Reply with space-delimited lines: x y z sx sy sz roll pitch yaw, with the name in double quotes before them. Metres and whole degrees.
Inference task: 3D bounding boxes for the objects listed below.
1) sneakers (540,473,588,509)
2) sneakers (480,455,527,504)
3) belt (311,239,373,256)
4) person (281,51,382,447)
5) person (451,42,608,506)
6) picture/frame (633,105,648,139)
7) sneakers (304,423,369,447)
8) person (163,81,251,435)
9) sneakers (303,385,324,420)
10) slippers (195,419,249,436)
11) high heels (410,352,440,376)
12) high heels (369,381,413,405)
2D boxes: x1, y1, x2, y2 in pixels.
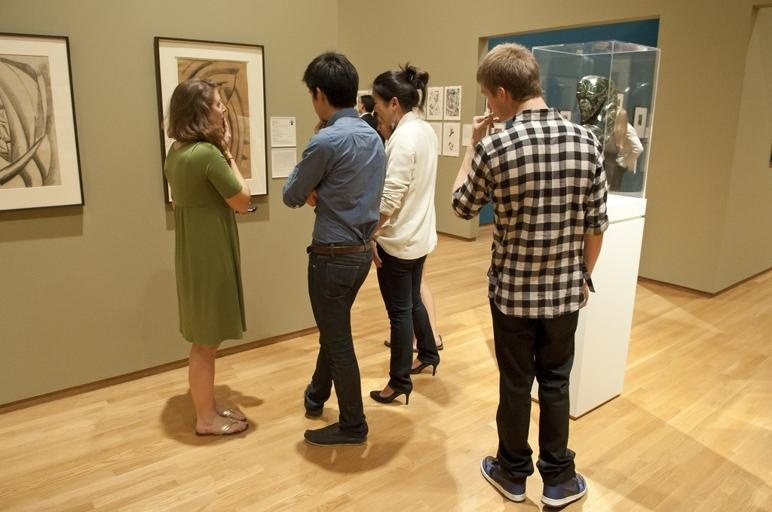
"sneakers" 1.126 1.500 3.252 0.370 0.173 0.141 -12 14 -38
"sneakers" 0.740 1.446 3.405 0.141 0.166 0.381 -8 23 -22
"belt" -0.302 -0.053 3.369 0.405 0.087 0.120 -5 21 -10
"person" -0.336 0.030 3.482 0.591 2.620 0.585 3 20 13
"person" 0.884 0.198 3.084 0.876 2.745 0.549 8 21 25
"picture/frame" 2.059 -1.098 4.184 0.213 0.401 0.026 -15 19 -37
"sneakers" -0.361 1.275 3.741 0.470 0.178 0.177 2 5 0
"person" -1.213 0.059 3.637 0.577 2.439 0.581 -8 21 -19
"sneakers" -0.572 1.110 3.997 0.157 0.227 0.233 -3 24 -10
"slippers" -1.191 1.272 3.767 0.294 0.080 0.145 -6 14 -14
"high heels" 0.270 0.931 4.463 0.379 0.210 0.127 1 8 -1
"high heels" 0.085 1.079 4.096 0.410 0.218 0.143 1 13 4
